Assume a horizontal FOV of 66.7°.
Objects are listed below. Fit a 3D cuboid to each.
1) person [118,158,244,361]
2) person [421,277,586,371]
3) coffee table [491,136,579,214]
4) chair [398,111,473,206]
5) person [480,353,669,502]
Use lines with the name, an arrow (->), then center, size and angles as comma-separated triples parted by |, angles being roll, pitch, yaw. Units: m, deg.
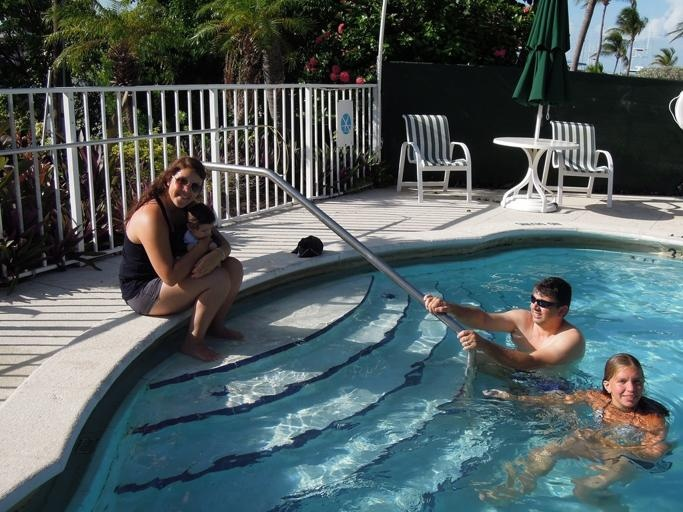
person -> -1.198, 0.013, 3.875 | 0.869, 1.482, 0.530 | -6, 12, -22
person -> 1.235, 0.582, 3.787 | 1.165, 0.728, 0.653 | 6, 16, -14
coffee table -> 3.039, -1.316, 8.251 | 1.354, 1.001, 1.234 | 1, 12, -3
chair -> 1.561, -1.687, 8.770 | 1.148, 1.271, 1.131 | -2, 20, -5
person -> 1.464, 0.990, 3.110 | 0.855, 0.681, 0.903 | 5, 12, 32
